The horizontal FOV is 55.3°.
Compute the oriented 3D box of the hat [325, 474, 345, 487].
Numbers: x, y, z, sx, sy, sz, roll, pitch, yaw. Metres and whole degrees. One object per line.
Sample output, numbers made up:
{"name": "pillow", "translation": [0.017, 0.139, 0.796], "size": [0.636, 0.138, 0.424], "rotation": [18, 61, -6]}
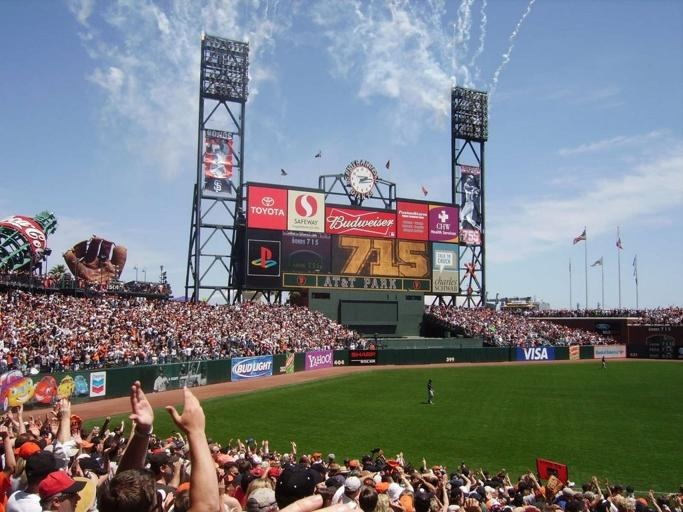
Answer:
{"name": "hat", "translation": [-0.133, 5.151, 14.865], "size": [0.434, 0.232, 0.959], "rotation": [2, -8, -1]}

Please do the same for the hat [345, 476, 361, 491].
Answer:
{"name": "hat", "translation": [0.251, 4.723, 13.530], "size": [0.381, 0.260, 0.259], "rotation": [7, -9, -34]}

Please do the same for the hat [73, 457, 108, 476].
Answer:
{"name": "hat", "translation": [-5.321, 4.530, 13.904], "size": [0.511, 0.299, 0.355], "rotation": [15, 1, -17]}

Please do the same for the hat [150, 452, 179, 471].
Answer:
{"name": "hat", "translation": [-3.836, 4.456, 14.116], "size": [0.393, 0.408, 0.309], "rotation": [-32, 32, -35]}

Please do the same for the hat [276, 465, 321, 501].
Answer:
{"name": "hat", "translation": [-0.800, 4.143, 11.917], "size": [0.442, 0.403, 0.721], "rotation": [4, 9, 21]}

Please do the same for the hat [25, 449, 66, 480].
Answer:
{"name": "hat", "translation": [-5.657, 3.987, 12.576], "size": [0.431, 0.394, 0.699], "rotation": [0, 17, 19]}

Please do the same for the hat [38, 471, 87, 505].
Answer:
{"name": "hat", "translation": [-5.151, 4.205, 11.985], "size": [0.824, 0.498, 0.565], "rotation": [-2, -15, -25]}

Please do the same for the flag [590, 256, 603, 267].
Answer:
{"name": "flag", "translation": [17.864, 0.478, 45.348], "size": [0.844, 0.904, 0.061], "rotation": [22, -16, 29]}
